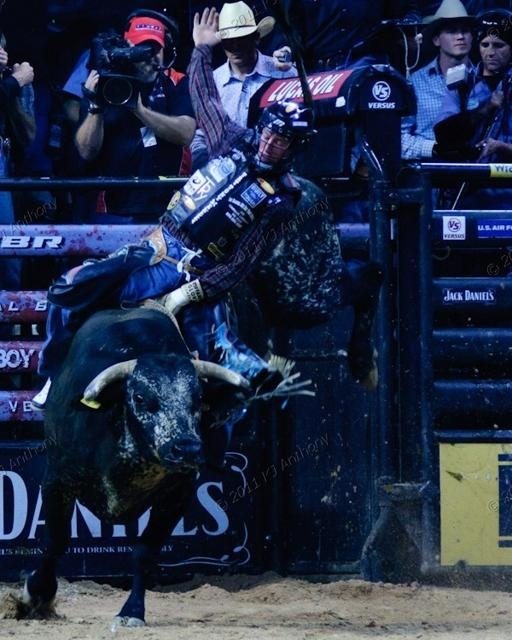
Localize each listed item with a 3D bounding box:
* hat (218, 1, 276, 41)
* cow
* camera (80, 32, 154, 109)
[{"bbox_3d":[-0.081,-1.775,8.767,0.303,0.113,0.315,-10,-7,13],"label":"hat"},{"bbox_3d":[-0.571,0.727,7.134,0.740,1.565,1.005,0,5,-35],"label":"cow"},{"bbox_3d":[-0.788,-1.492,8.664,0.369,0.444,0.273,2,4,-4],"label":"camera"}]
